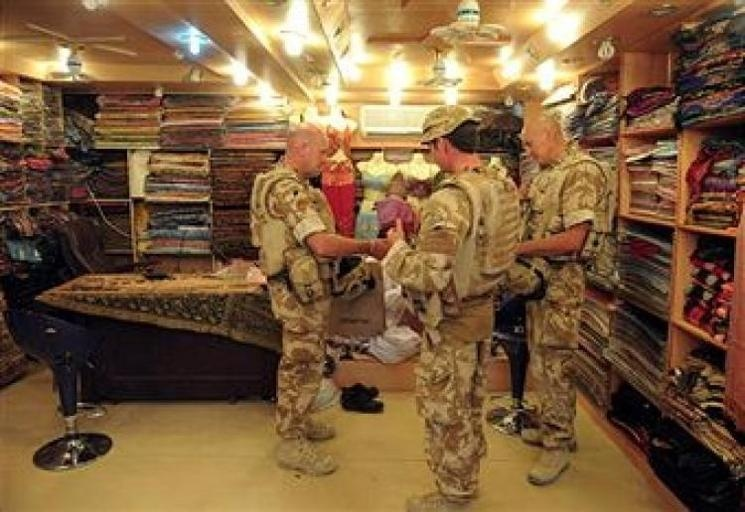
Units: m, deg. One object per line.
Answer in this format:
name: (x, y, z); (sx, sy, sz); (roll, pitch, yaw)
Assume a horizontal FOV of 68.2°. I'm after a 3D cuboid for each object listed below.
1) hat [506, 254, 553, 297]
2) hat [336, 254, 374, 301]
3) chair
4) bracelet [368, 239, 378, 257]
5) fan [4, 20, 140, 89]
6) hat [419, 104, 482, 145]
hat: (0.925, 0.120, 3.305); (0.267, 0.237, 0.094); (8, 7, -26)
hat: (-0.144, 0.153, 3.887); (0.306, 0.282, 0.158); (22, 11, 38)
chair: (-1.954, 0.803, 3.471); (0.517, 0.999, 0.312); (-5, 11, -31)
bracelet: (-0.002, -0.055, 3.325); (0.062, 0.072, 0.076); (-1, -3, -1)
fan: (-2.050, -1.358, 3.754); (0.695, 0.293, 0.859); (1, 8, 8)
hat: (0.425, -0.729, 3.004); (0.218, 0.206, 0.276); (-6, 11, -34)
